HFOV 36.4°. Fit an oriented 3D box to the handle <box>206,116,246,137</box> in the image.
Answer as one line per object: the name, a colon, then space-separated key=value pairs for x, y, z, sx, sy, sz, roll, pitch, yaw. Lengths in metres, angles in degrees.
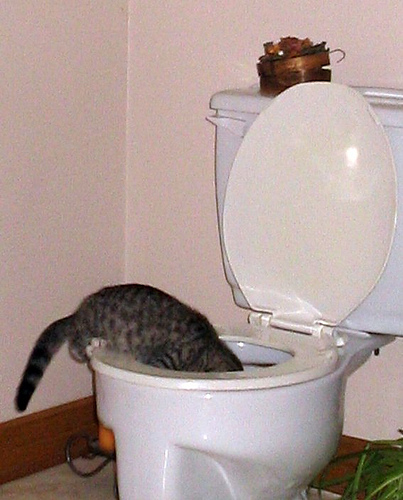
handle: x=0.055 y=-0.246 z=1.218 sx=0.080 sy=0.029 sz=0.020 roll=26 pitch=25 yaw=21

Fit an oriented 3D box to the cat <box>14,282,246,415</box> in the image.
cat: x=-0.134 y=0.180 z=1.107 sx=0.179 sy=0.229 sz=0.421 roll=-17 pitch=-19 yaw=21

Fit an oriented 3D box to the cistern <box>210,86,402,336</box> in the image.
cistern: x=0.200 y=-0.068 z=1.091 sx=0.288 sy=0.369 sz=0.462 roll=-12 pitch=14 yaw=-42
